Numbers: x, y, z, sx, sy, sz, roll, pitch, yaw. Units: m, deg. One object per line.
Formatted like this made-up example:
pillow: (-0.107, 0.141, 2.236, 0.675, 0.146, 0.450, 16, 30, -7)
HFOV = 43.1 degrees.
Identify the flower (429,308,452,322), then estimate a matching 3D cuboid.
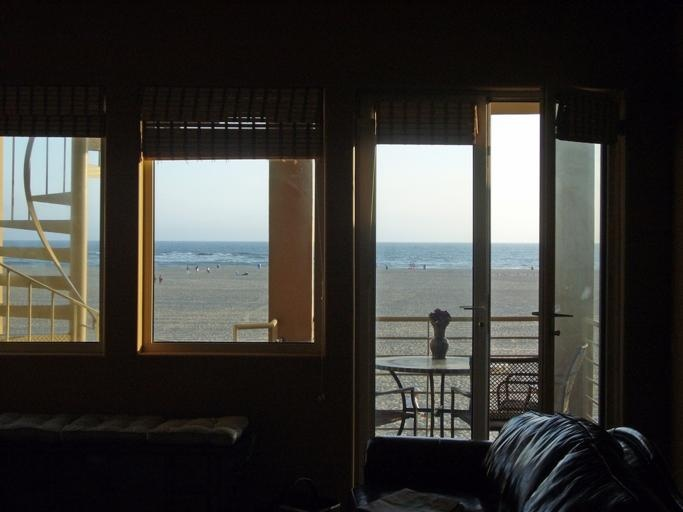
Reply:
flower: (0.688, 0.411, 6.057, 0.100, 0.061, 0.101, 1, -2, -30)

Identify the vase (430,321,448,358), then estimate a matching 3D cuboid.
vase: (0.670, 0.602, 6.118, 0.149, 0.246, 0.148, 6, 2, 24)

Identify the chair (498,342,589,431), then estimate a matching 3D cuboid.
chair: (1.392, 0.955, 6.330, 0.644, 0.921, 0.541, 1, -7, 6)
